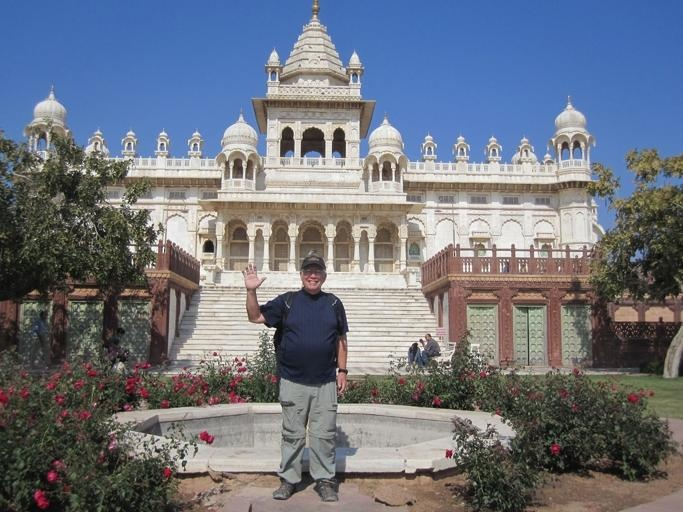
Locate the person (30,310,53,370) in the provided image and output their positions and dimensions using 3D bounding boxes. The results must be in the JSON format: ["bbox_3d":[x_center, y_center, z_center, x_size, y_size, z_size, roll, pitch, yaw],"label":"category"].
[{"bbox_3d":[-9.788,2.700,25.874,0.542,1.842,0.658,3,-4,-22],"label":"person"}]

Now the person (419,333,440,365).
[{"bbox_3d":[2.486,2.656,22.348,0.629,1.130,0.526,1,-48,6],"label":"person"}]

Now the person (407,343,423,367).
[{"bbox_3d":[2.133,2.832,22.724,0.273,0.408,0.979,3,-43,5],"label":"person"}]

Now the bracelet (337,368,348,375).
[{"bbox_3d":[0.016,1.698,11.678,0.165,0.129,0.188,1,-8,7],"label":"bracelet"}]

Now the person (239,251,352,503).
[{"bbox_3d":[-0.600,1.913,11.407,1.323,3.053,0.500,2,-4,-1],"label":"person"}]
